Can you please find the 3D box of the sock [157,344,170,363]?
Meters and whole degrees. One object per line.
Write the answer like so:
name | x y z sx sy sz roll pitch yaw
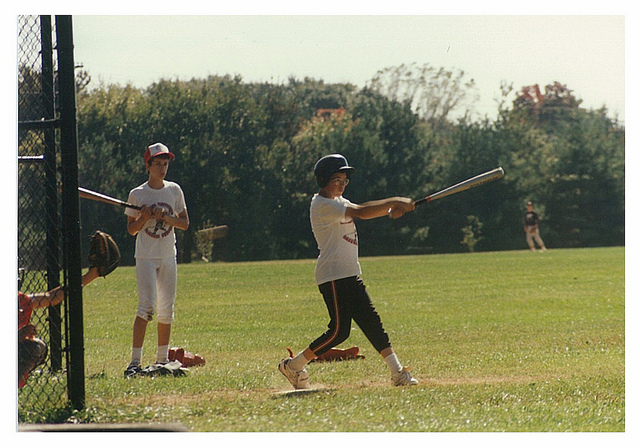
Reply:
sock | -2.889 2.365 18.114 0.221 0.319 0.178 1 2 -16

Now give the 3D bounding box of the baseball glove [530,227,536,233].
baseball glove | 6.989 0.179 31.736 0.174 0.201 0.410 2 2 11

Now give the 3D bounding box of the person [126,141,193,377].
person | -3.011 0.632 18.054 1.042 4.160 0.583 1 2 -13

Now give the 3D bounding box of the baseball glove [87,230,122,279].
baseball glove | -3.800 0.528 17.227 0.508 0.807 0.347 1 2 -14
